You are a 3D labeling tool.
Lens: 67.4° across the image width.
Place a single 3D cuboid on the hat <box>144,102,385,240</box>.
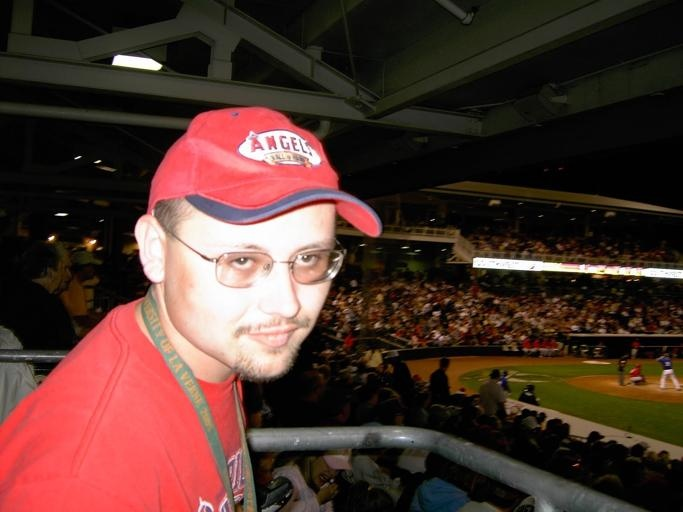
[{"bbox_3d":[-0.287,-0.287,1.655,0.584,0.302,0.696,-4,8,-25],"label":"hat"}]
